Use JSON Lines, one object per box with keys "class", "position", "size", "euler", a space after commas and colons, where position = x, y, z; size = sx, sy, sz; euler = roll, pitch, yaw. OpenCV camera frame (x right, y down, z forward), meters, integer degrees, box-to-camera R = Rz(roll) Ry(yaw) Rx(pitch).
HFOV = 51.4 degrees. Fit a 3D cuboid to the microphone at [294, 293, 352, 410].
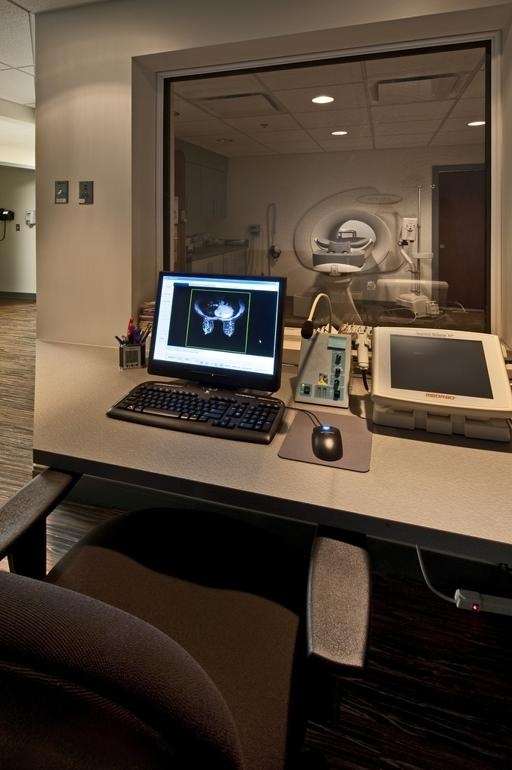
{"class": "microphone", "position": [0.186, -0.101, 1.384], "size": [0.190, 0.261, 0.161], "euler": [-21, 27, -39]}
